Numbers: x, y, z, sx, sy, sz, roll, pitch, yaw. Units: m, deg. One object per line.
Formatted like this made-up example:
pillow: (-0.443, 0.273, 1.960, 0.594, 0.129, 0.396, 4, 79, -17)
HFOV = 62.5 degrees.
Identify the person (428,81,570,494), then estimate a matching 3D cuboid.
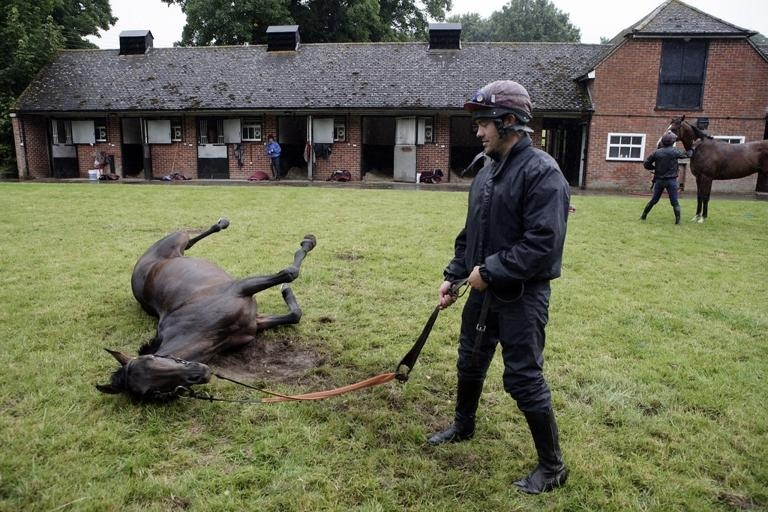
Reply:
person: (1.176, 0.262, 6.023, 1.303, 3.766, 0.833, 5, 12, 21)

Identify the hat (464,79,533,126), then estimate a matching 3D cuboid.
hat: (1.113, -1.511, 6.122, 0.736, 0.388, 0.527, 12, 10, -16)

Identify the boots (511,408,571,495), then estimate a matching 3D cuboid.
boots: (1.453, 1.831, 6.029, 0.607, 0.783, 0.346, -3, -5, -15)

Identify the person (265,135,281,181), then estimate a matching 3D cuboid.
person: (-4.597, -4.051, 26.076, 0.491, 1.768, 1.247, -2, 11, -12)

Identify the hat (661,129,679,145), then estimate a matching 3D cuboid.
hat: (6.311, -2.590, 14.050, 0.249, 0.289, 0.497, 7, 13, 30)
